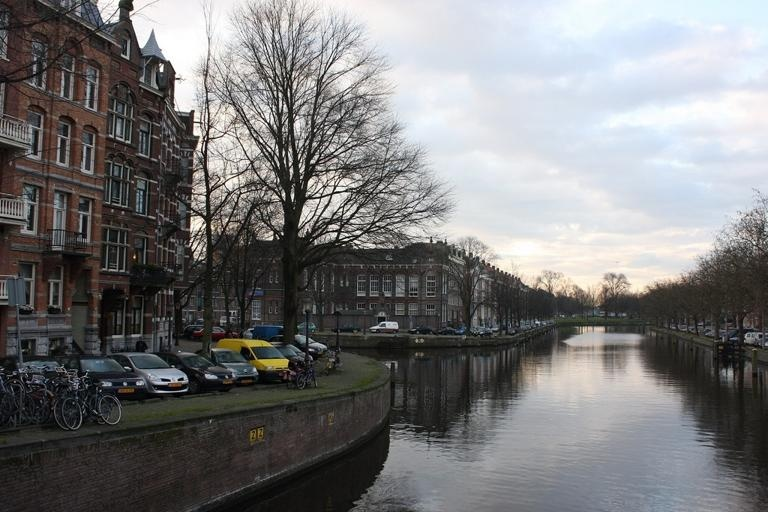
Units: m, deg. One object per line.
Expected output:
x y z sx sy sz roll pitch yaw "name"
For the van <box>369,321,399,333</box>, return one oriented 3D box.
0.175 9.071 94.085 2.929 1.084 1.579 4 -8 -9 "van"
